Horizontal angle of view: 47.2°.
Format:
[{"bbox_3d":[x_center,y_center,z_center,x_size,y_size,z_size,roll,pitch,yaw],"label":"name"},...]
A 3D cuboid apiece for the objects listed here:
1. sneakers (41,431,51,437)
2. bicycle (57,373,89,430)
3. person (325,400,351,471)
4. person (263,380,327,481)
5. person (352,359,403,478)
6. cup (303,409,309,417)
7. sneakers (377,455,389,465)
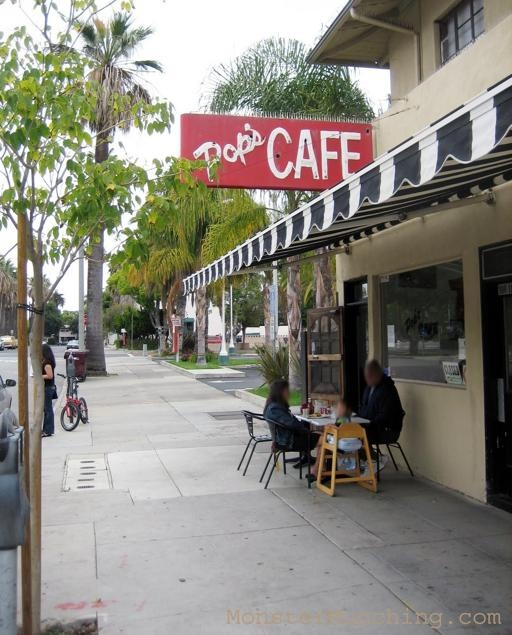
[{"bbox_3d":[-3.688,2.064,10.326,0.107,0.105,0.333,0,-8,-4],"label":"sneakers"},{"bbox_3d":[-3.559,1.705,11.663,0.544,0.923,1.180,-4,-10,-45],"label":"bicycle"},{"bbox_3d":[0.949,1.333,6.655,0.244,0.839,0.756,-1,-1,6],"label":"person"},{"bbox_3d":[0.454,1.278,6.923,0.553,1.104,0.808,-1,-1,37],"label":"person"},{"bbox_3d":[1.422,1.273,7.079,0.626,1.461,0.593,2,-3,-10],"label":"person"},{"bbox_3d":[0.639,1.225,7.558,0.060,0.087,0.062,1,-7,0],"label":"cup"},{"bbox_3d":[1.650,1.804,7.571,0.136,0.129,0.343,19,-8,15],"label":"sneakers"}]
